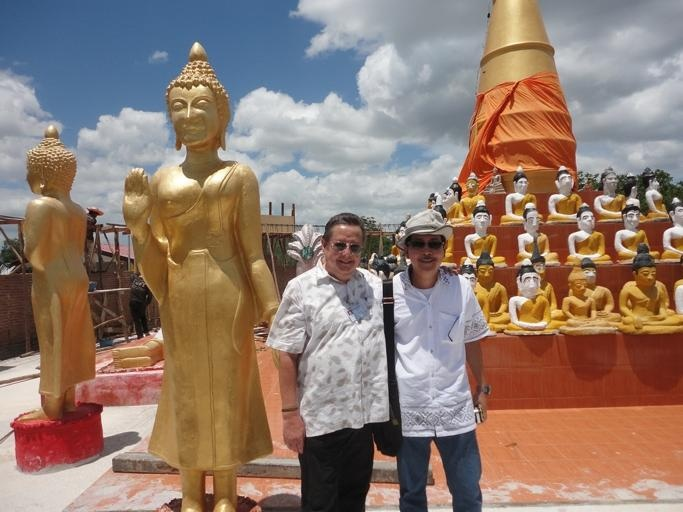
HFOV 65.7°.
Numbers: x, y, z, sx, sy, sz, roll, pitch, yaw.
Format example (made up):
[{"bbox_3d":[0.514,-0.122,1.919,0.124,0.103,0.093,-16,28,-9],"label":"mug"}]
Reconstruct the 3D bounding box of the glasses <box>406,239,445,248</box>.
[{"bbox_3d":[0.737,-0.117,4.664,0.346,0.110,0.126,0,7,12],"label":"glasses"}]

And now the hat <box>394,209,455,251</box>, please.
[{"bbox_3d":[0.737,-0.286,4.561,0.549,0.323,0.636,0,-13,8],"label":"hat"}]

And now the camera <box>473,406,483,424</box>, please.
[{"bbox_3d":[1.217,1.429,4.750,0.098,0.147,0.047,-1,-17,-18],"label":"camera"}]

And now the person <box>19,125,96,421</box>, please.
[{"bbox_3d":[-3.394,0.189,6.297,0.708,3.388,0.723,-5,7,-26],"label":"person"}]
